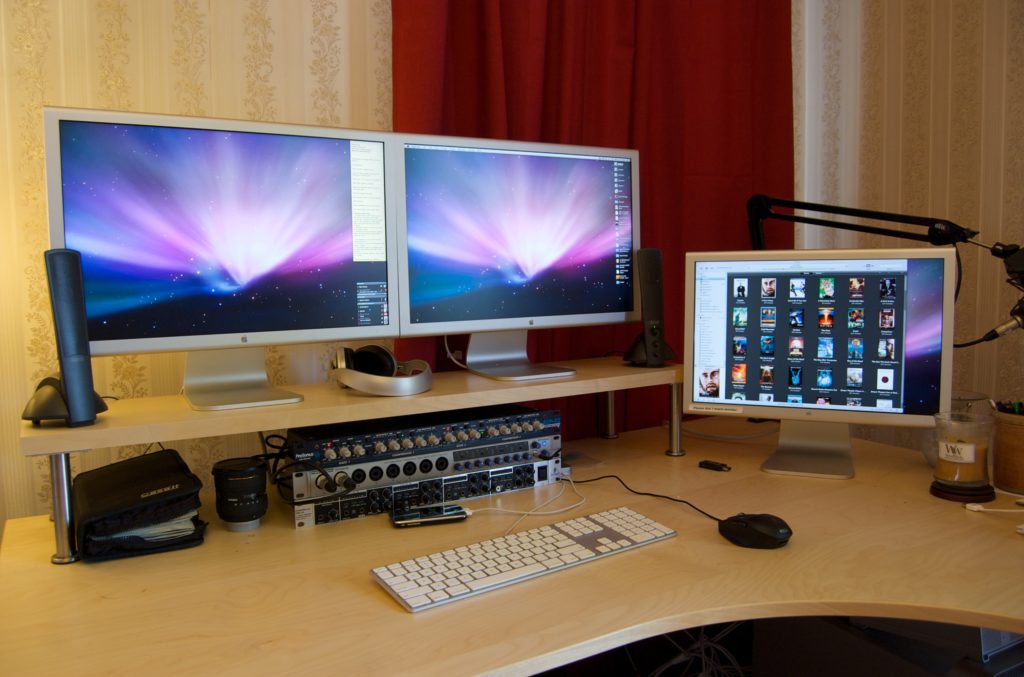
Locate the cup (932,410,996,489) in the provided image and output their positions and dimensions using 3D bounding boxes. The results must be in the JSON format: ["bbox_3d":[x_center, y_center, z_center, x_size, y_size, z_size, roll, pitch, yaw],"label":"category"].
[{"bbox_3d":[1.184,0.285,2.168,0.180,0.184,0.167,1,5,0],"label":"cup"}]

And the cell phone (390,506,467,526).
[{"bbox_3d":[-0.206,0.448,2.068,0.191,0.018,0.111,-2,7,-20],"label":"cell phone"}]

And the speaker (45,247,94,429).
[{"bbox_3d":[-1.018,-0.003,1.913,0.090,0.408,0.060,-12,12,-31],"label":"speaker"}]

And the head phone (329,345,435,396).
[{"bbox_3d":[-0.353,0.093,2.256,0.291,0.102,0.265,14,12,38],"label":"head phone"}]

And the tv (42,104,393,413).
[{"bbox_3d":[-0.737,-0.201,2.057,0.843,0.676,0.215,-2,2,-28],"label":"tv"}]

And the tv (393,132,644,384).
[{"bbox_3d":[0.007,-0.235,2.352,0.806,0.648,0.229,-2,2,-28],"label":"tv"}]
